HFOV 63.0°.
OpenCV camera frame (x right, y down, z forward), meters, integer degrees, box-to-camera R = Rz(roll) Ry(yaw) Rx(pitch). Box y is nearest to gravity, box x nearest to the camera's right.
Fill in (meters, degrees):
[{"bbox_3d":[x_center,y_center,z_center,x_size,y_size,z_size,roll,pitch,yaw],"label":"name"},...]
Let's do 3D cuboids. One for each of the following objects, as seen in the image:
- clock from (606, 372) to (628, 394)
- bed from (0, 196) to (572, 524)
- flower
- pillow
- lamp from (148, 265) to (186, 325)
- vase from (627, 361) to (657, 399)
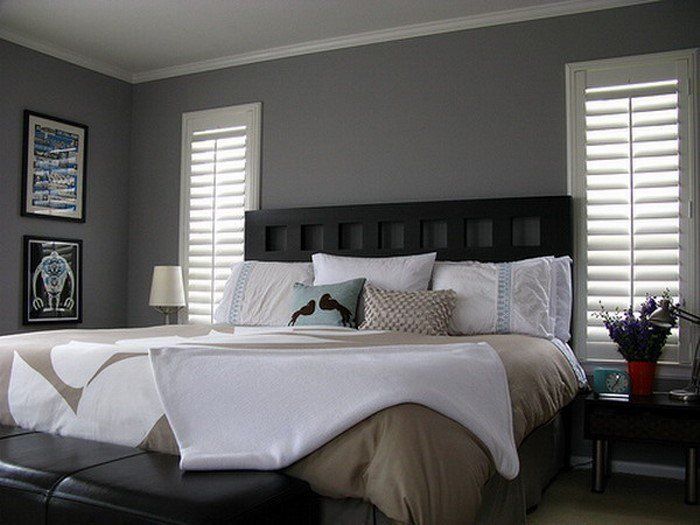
[{"bbox_3d":[1.466,0.661,3.142,0.094,0.115,0.025,-1,-10,15],"label":"clock"},{"bbox_3d":[-0.211,0.372,2.620,1.497,1.074,1.588,-2,-2,25],"label":"bed"},{"bbox_3d":[1.627,0.403,3.287,0.241,0.332,0.291,-9,11,37],"label":"flower"},{"bbox_3d":[0.263,0.204,3.547,2.081,0.542,0.457,-1,0,21],"label":"pillow"},{"bbox_3d":[-1.404,0.311,4.391,0.260,0.612,0.250,9,9,34],"label":"lamp"},{"bbox_3d":[1.629,0.639,3.225,0.153,0.191,0.169,-1,1,-9],"label":"vase"}]
